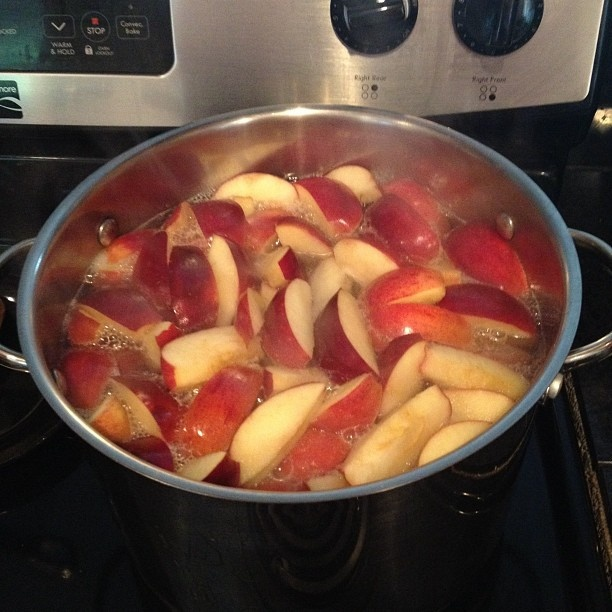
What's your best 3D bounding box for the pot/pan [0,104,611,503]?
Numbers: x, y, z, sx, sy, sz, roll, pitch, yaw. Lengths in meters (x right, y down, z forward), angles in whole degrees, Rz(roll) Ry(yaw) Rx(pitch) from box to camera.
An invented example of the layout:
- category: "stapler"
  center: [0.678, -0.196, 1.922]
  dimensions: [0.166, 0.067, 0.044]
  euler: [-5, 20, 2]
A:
- category: "pot/pan"
  center: [-0.013, -0.022, 0.718]
  dimensions: [0.535, 0.192, 0.529]
  euler: [-16, 45, -15]
